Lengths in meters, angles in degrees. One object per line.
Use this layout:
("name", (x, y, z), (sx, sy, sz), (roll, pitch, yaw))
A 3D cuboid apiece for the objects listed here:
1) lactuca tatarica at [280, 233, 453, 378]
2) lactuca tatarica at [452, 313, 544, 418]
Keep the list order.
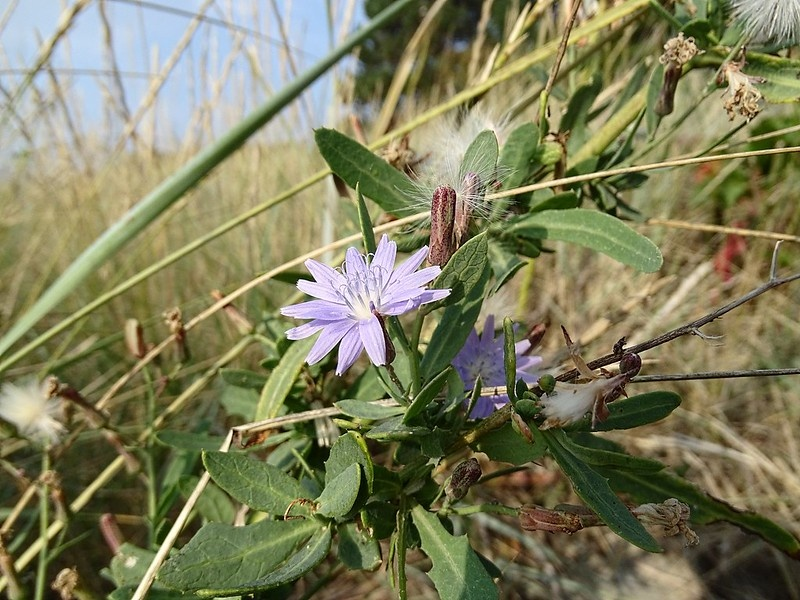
("lactuca tatarica", (-0.079, 0.015, 1.832), (0.329, 0.175, 0.355), (24, 69, 26))
("lactuca tatarica", (0.276, 0.173, 2.067), (0.211, 0.194, 0.362), (-20, 13, 24))
